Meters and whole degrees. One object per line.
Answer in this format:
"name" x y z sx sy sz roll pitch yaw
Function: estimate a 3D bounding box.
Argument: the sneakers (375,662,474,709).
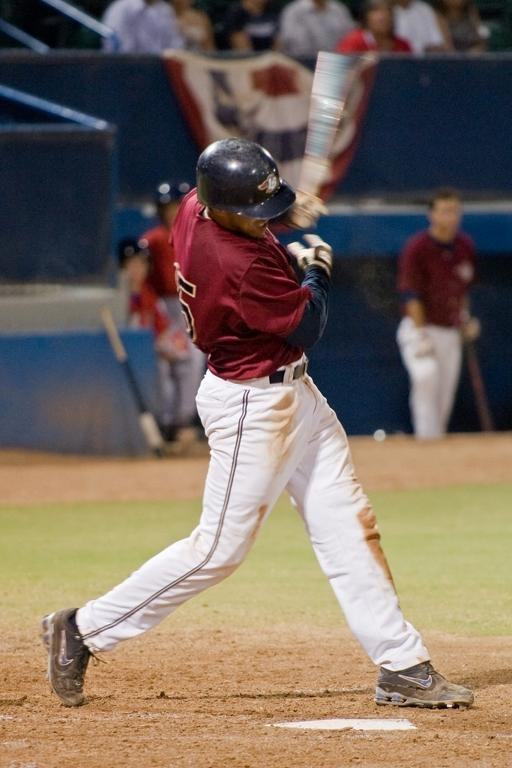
"sneakers" 0.396 0.724 2.424 0.272 0.104 0.092 -1 -8 12

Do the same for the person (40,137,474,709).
"person" 0.036 0.124 2.422 1.005 1.375 0.387 7 16 2

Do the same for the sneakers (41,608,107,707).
"sneakers" -0.465 0.666 2.500 0.132 0.237 0.091 -7 -1 20

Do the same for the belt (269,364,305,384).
"belt" 0.071 -0.025 2.375 0.064 0.017 0.058 -17 8 -5
